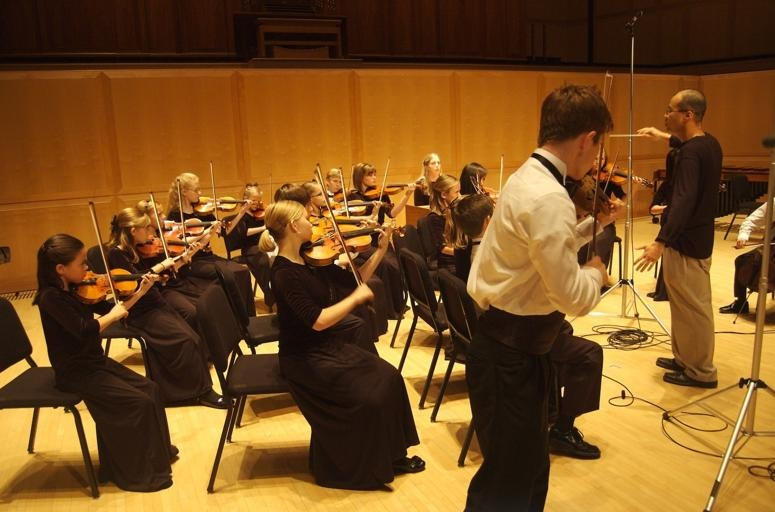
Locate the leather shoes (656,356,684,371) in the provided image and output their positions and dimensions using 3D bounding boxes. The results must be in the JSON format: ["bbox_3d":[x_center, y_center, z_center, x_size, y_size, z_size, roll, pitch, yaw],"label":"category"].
[{"bbox_3d":[2.643,1.013,5.734,0.234,0.098,0.080,19,27,41],"label":"leather shoes"}]

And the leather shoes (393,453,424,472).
[{"bbox_3d":[0.165,1.578,4.656,0.217,0.057,0.120,-1,30,5],"label":"leather shoes"}]

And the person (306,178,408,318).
[{"bbox_3d":[-0.251,-0.274,7.208,0.874,0.415,2.081,-9,46,-23],"label":"person"}]

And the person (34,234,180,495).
[{"bbox_3d":[-2.148,0.793,4.699,0.956,1.951,0.454,1,13,22],"label":"person"}]

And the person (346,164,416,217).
[{"bbox_3d":[-0.141,-0.903,8.409,0.536,0.248,1.266,-10,28,-36],"label":"person"}]

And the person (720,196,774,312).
[{"bbox_3d":[4.187,0.001,7.101,0.285,1.653,0.676,10,28,37],"label":"person"}]

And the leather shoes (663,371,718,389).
[{"bbox_3d":[2.690,1.120,5.464,0.440,0.174,0.163,7,0,19],"label":"leather shoes"}]

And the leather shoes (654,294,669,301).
[{"bbox_3d":[3.295,0.506,7.335,0.179,0.061,0.108,2,0,-23],"label":"leather shoes"}]

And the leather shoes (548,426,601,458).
[{"bbox_3d":[1.479,1.458,4.784,0.437,0.199,0.198,3,-6,35],"label":"leather shoes"}]

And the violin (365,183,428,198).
[{"bbox_3d":[0.098,-0.945,8.786,0.845,0.160,0.339,-3,4,-14],"label":"violin"}]

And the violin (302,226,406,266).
[{"bbox_3d":[-0.462,-0.144,5.966,0.378,0.144,0.888,40,24,20],"label":"violin"}]

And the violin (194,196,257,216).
[{"bbox_3d":[-2.208,-0.718,8.226,0.901,0.169,0.353,-1,29,-28],"label":"violin"}]

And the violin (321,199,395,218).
[{"bbox_3d":[-0.359,-0.630,8.010,0.800,0.115,0.319,-2,9,-11],"label":"violin"}]

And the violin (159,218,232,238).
[{"bbox_3d":[-2.303,-0.343,7.189,0.682,0.270,0.115,-8,-28,-39],"label":"violin"}]

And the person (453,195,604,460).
[{"bbox_3d":[1.200,0.939,5.377,1.358,1.133,2.210,1,35,21],"label":"person"}]

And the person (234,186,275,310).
[{"bbox_3d":[-1.639,-0.140,7.704,0.738,1.402,0.501,8,21,-9],"label":"person"}]

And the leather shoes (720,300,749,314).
[{"bbox_3d":[3.920,0.562,6.887,0.287,0.120,0.158,2,-1,11],"label":"leather shoes"}]

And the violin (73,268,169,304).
[{"bbox_3d":[-2.311,0.249,5.097,0.249,0.121,0.615,50,23,12],"label":"violin"}]

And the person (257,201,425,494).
[{"bbox_3d":[-0.341,0.685,4.770,1.346,2.156,0.964,1,11,-6],"label":"person"}]
